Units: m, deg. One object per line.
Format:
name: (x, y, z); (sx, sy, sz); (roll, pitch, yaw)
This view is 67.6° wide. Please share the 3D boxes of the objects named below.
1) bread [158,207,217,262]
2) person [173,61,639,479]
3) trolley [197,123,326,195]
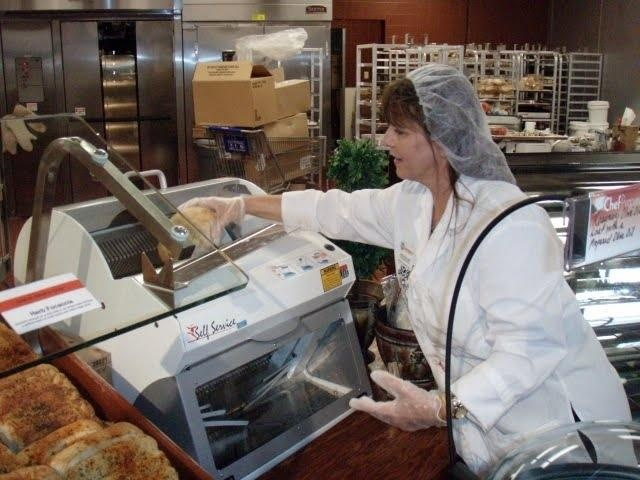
bread: (-0.298, -0.010, 1.076); (0.116, 0.032, 0.135); (-32, 52, 8)
person: (0.276, -0.114, 1.985); (1.447, 1.941, 0.984); (-20, 23, -14)
trolley: (-0.361, -0.544, 3.389); (0.690, 0.620, 0.436); (5, 4, -45)
